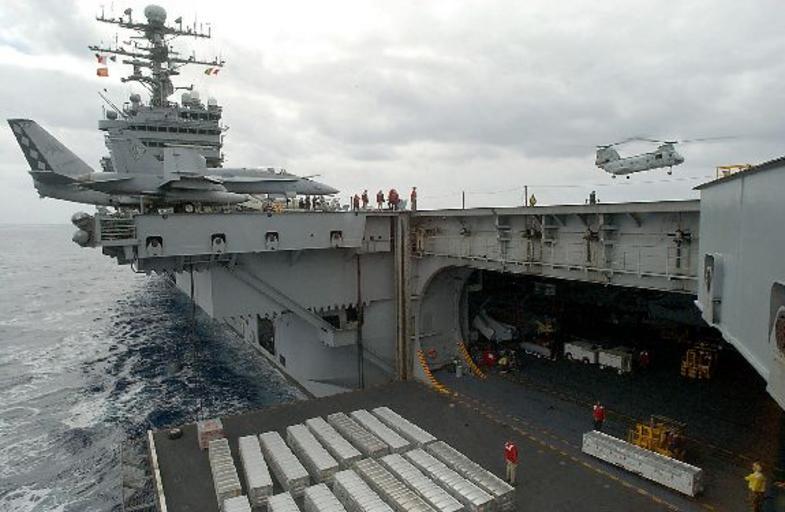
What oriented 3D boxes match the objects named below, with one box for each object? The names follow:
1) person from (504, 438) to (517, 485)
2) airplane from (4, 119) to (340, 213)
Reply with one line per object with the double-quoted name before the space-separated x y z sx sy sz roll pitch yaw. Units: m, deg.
"person" 6.772 11.735 31.366 0.579 2.539 1.178 1 6 13
"airplane" -17.028 -5.847 42.340 19.050 4.923 14.857 0 8 -18
